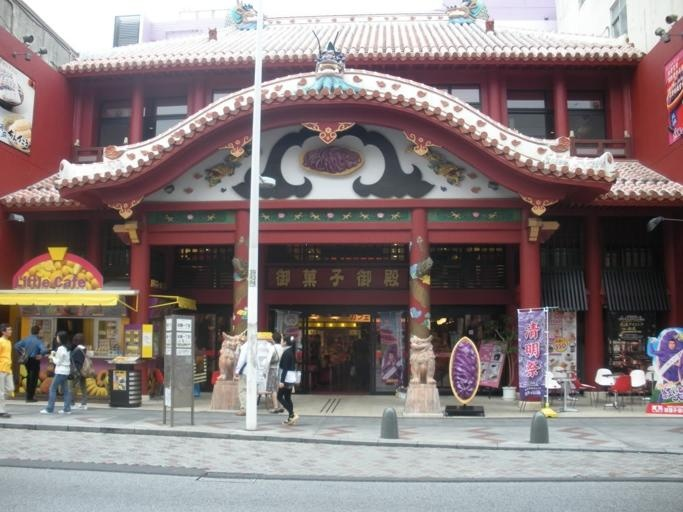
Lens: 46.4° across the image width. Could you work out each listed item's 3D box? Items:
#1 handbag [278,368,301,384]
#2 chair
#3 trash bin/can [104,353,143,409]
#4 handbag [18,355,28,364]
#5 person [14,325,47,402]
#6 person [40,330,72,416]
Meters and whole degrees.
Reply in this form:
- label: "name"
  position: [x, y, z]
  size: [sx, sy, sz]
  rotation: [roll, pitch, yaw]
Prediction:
- label: "handbag"
  position: [-1.488, 3.404, 22.715]
  size: [0.504, 0.451, 0.371]
  rotation: [-1, -5, 6]
- label: "chair"
  position: [8.564, 4.514, 25.949]
  size: [2.602, 1.733, 2.544]
  rotation: [3, -2, -42]
- label: "trash bin/can"
  position: [-6.912, 3.994, 25.530]
  size: [0.996, 1.622, 0.633]
  rotation: [3, -10, -16]
- label: "handbag"
  position: [-9.878, 3.172, 24.756]
  size: [0.225, 0.286, 0.497]
  rotation: [4, -10, -20]
- label: "person"
  position: [-9.940, 3.260, 25.336]
  size: [1.057, 2.852, 1.091]
  rotation: [0, -2, 2]
- label: "person"
  position: [-8.536, 3.497, 23.874]
  size: [0.635, 2.410, 0.923]
  rotation: [-9, -10, 35]
